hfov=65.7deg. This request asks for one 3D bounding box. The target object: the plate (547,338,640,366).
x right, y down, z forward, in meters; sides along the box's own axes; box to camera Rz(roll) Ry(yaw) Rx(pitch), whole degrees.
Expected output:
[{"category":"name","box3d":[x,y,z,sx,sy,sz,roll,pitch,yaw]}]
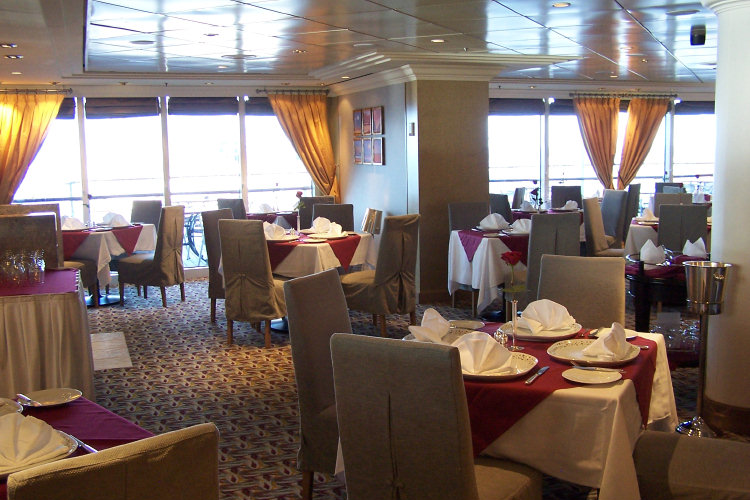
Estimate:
[{"category":"plate","box3d":[1.191,0.542,3.157,0.437,0.079,0.372,6,14,30]}]

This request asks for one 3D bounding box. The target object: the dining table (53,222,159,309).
[{"category":"dining table","box3d":[-3.796,0.214,7.902,1.571,0.927,1.497,-5,3,-19]}]

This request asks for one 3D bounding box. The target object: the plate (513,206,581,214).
[{"category":"plate","box3d":[2.562,-0.581,8.571,0.364,0.084,0.357,-4,9,-23]}]

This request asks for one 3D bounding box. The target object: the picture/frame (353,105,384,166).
[{"category":"picture/frame","box3d":[-0.079,-1.750,8.853,0.102,0.941,1.017,-1,4,-22]}]
